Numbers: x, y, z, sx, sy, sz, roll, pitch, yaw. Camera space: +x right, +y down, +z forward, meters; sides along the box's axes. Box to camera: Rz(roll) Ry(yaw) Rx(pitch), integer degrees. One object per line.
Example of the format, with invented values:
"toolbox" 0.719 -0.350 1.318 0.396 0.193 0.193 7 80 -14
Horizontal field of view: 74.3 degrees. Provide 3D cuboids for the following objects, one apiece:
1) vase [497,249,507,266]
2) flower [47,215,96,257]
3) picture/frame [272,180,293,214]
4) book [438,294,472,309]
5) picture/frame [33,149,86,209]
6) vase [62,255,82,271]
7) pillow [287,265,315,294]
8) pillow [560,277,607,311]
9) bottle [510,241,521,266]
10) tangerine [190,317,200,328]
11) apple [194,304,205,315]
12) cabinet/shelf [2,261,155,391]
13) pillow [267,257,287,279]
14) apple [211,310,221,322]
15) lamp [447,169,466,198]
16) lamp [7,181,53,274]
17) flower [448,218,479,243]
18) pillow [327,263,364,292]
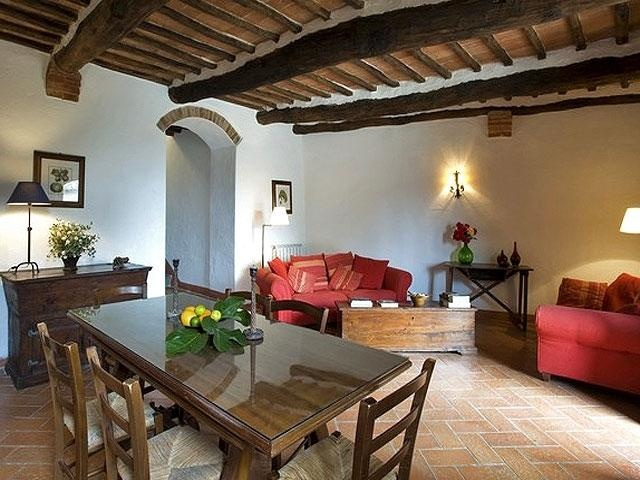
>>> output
"vase" 2.790 0.271 6.507 0.197 0.274 0.200 3 3 34
"flower" -2.803 -0.005 4.810 0.604 0.549 0.431 1 4 40
"picture/frame" -0.670 -0.758 7.324 0.052 0.770 0.662 2 2 36
"book" 1.651 0.746 5.207 0.234 0.114 0.328 0 -3 10
"picture/frame" -3.042 -0.717 4.889 0.065 0.943 0.667 3 5 45
"vase" -2.719 0.239 4.645 0.164 0.153 0.162 0 3 -43
"pillow" -0.266 0.577 6.106 0.383 0.328 0.253 0 13 -2
"pillow" 3.182 0.630 5.132 0.439 0.455 0.166 5 -25 30
"bottle" 2.987 0.212 6.427 0.159 0.344 0.531 7 15 25
"tangerine" -0.877 0.572 2.978 0.065 0.082 0.061 10 -24 -20
"apple" -0.852 0.495 3.040 0.062 0.077 0.064 12 -31 -2
"cabinet/shelf" -2.187 0.763 3.701 1.160 1.007 0.450 -4 10 -45
"pillow" -0.602 0.405 6.120 0.085 0.272 0.284 -38 -26 26
"apple" -0.726 0.523 2.964 0.071 0.070 0.085 5 27 8
"lamp" 2.253 -0.914 6.916 0.237 0.463 0.111 5 14 18
"lamp" -3.116 -0.130 4.514 0.435 0.990 0.721 -9 17 -35
"flower" 2.281 -0.164 6.676 0.366 0.380 0.366 0 2 -38
"pillow" 0.375 0.564 6.307 0.350 0.361 0.106 20 -13 12
